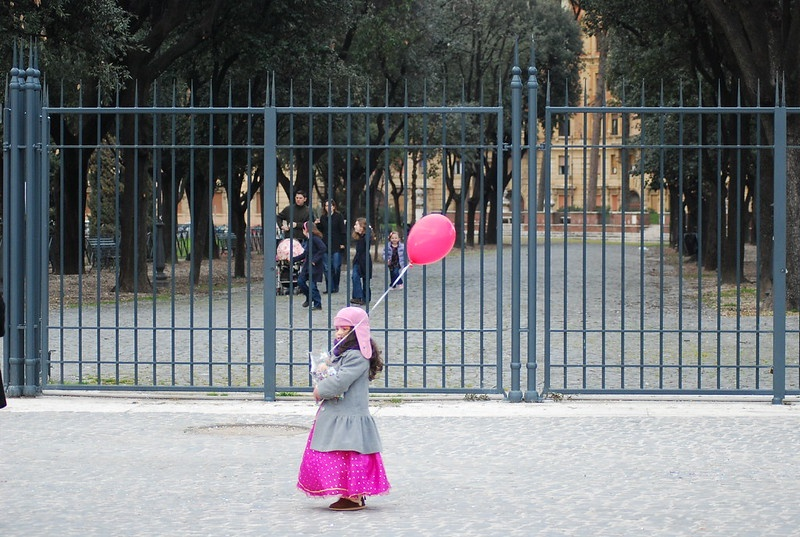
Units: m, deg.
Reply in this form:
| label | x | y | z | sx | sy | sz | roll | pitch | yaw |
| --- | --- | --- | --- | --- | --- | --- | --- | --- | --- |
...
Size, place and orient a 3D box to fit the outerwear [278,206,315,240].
| label | x | y | z | sx | sy | sz | roll | pitch | yaw |
| --- | --- | --- | --- | --- | --- | --- | --- | --- | --- |
| outerwear | -1.903 | -0.789 | 30.192 | 0.675 | 0.829 | 0.455 | 3 | 19 | -1 |

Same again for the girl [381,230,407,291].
| label | x | y | z | sx | sy | sz | roll | pitch | yaw |
| --- | --- | --- | --- | --- | --- | --- | --- | --- | --- |
| girl | -0.112 | -0.147 | 31.062 | 0.589 | 1.083 | 0.595 | -7 | 11 | -27 |

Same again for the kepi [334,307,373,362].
| label | x | y | z | sx | sy | sz | roll | pitch | yaw |
| --- | --- | --- | --- | --- | --- | --- | --- | --- | --- |
| kepi | -0.540 | 0.729 | 19.887 | 0.413 | 0.592 | 0.515 | -9 | 0 | -11 |

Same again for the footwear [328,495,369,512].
| label | x | y | z | sx | sy | sz | roll | pitch | yaw |
| --- | --- | --- | --- | --- | --- | --- | --- | --- | --- |
| footwear | -0.612 | 2.752 | 19.760 | 0.423 | 0.172 | 0.165 | 3 | -5 | -8 |

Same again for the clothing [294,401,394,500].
| label | x | y | z | sx | sy | sz | roll | pitch | yaw |
| --- | --- | --- | --- | --- | --- | --- | --- | --- | --- |
| clothing | -0.659 | 2.173 | 19.761 | 0.897 | 0.853 | 0.652 | 4 | -14 | -8 |

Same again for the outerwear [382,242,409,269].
| label | x | y | z | sx | sy | sz | roll | pitch | yaw |
| --- | --- | --- | --- | --- | --- | --- | --- | --- | --- |
| outerwear | -0.095 | -0.261 | 30.919 | 0.633 | 0.693 | 0.411 | 0 | -8 | -2 |

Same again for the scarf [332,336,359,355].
| label | x | y | z | sx | sy | sz | roll | pitch | yaw |
| --- | --- | --- | --- | --- | --- | --- | --- | --- | --- |
| scarf | -0.650 | 0.897 | 19.830 | 0.217 | 0.138 | 0.258 | 6 | -20 | -36 |
